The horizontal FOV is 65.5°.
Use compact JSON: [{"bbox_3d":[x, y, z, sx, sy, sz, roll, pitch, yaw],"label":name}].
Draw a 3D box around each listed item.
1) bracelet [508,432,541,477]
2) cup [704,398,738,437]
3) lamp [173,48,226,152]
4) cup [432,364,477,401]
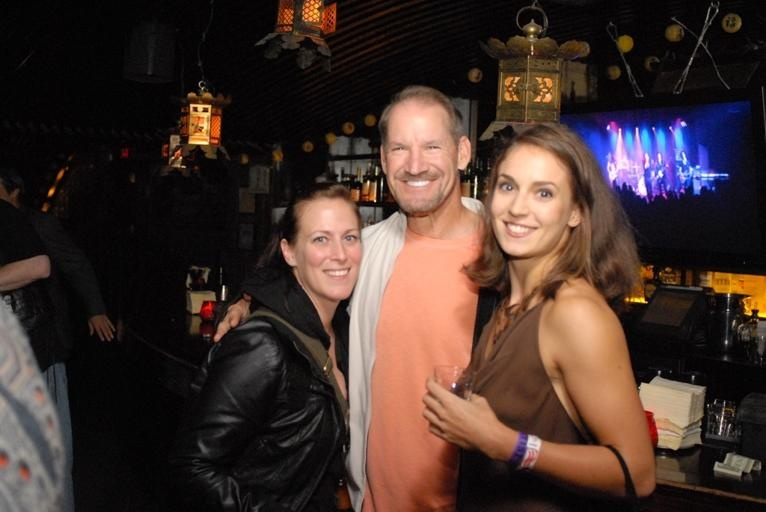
[{"bbox_3d":[0.511,0.702,2.140,0.064,0.099,0.129,19,-28,-21],"label":"bracelet"},{"bbox_3d":[1.902,0.920,3.349,0.160,0.202,0.091,5,5,27],"label":"cup"},{"bbox_3d":[-1.681,-1.362,5.496,0.475,0.837,0.494,6,8,34],"label":"lamp"},{"bbox_3d":[0.276,0.488,2.304,0.133,0.106,0.118,0,-3,20],"label":"cup"}]
